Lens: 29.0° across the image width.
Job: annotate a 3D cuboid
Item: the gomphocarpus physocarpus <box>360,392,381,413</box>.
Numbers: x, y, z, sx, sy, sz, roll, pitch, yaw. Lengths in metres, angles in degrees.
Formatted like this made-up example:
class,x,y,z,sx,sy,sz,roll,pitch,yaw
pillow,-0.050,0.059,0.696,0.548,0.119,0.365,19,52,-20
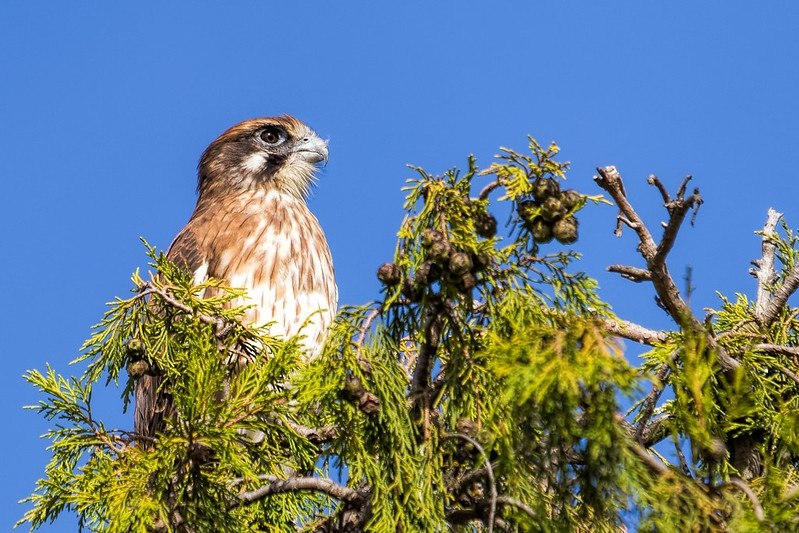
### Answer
class,x,y,z,sx,sy,sz,roll,pitch,yaw
gomphocarpus physocarpus,-0.164,0.704,7.889,0.113,0.052,0.089,24,-58,-23

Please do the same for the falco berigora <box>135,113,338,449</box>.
class,x,y,z,sx,sy,sz,roll,pitch,yaw
falco berigora,-0.946,-0.142,11.016,1.411,1.601,2.893,3,-95,-21

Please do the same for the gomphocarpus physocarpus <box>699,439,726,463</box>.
class,x,y,z,sx,sy,sz,roll,pitch,yaw
gomphocarpus physocarpus,1.502,0.885,7.476,0.090,0.103,0.124,-7,-28,25

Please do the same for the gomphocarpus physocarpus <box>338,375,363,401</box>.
class,x,y,z,sx,sy,sz,roll,pitch,yaw
gomphocarpus physocarpus,-0.241,0.621,7.863,0.110,0.071,0.116,11,-53,-15
